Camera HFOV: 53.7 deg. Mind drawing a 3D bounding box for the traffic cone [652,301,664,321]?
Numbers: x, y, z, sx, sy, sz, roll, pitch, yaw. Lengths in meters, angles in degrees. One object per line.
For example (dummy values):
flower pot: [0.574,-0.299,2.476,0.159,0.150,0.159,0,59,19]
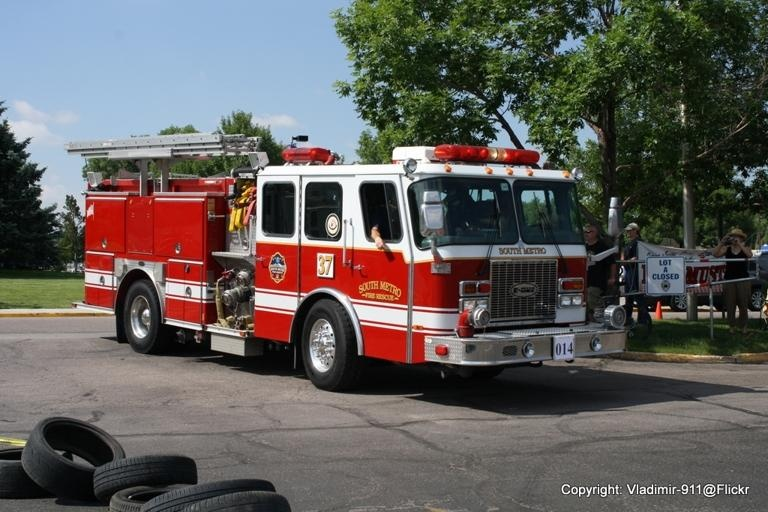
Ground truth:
traffic cone: [8.394,1.696,23.338,0.387,0.497,0.382,12,-23,-29]
